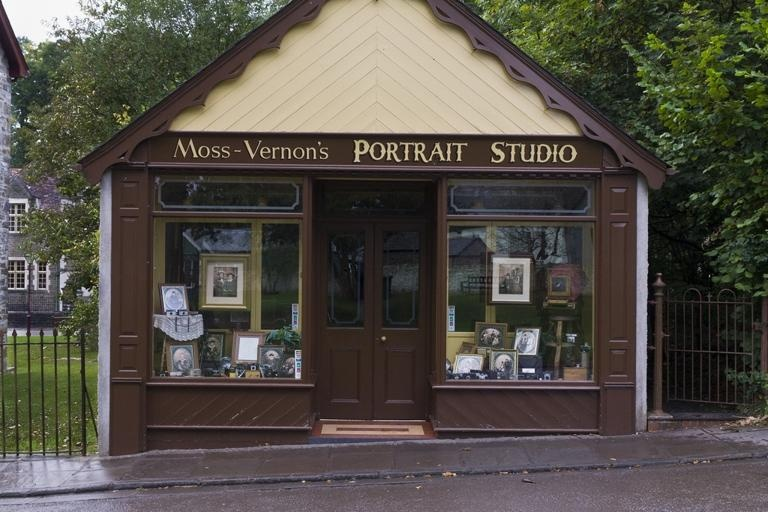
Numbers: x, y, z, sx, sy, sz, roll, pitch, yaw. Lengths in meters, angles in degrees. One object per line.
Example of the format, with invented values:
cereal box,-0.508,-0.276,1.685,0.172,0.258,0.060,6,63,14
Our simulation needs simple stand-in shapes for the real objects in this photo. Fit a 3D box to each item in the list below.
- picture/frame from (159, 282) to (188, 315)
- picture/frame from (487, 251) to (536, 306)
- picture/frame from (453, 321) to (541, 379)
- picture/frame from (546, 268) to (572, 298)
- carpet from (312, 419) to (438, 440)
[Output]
picture/frame,-4.546,0.880,21.416,0.608,0.731,0.050,-5,1,-28
picture/frame,2.773,0.416,21.621,1.098,1.338,0.090,1,0,1
picture/frame,2.514,2.017,21.587,1.932,1.215,0.238,-2,-6,8
picture/frame,3.807,0.533,21.594,0.600,0.827,0.079,0,0,5
carpet,-0.238,3.756,21.862,2.542,0.361,0.900,-1,-6,-2
